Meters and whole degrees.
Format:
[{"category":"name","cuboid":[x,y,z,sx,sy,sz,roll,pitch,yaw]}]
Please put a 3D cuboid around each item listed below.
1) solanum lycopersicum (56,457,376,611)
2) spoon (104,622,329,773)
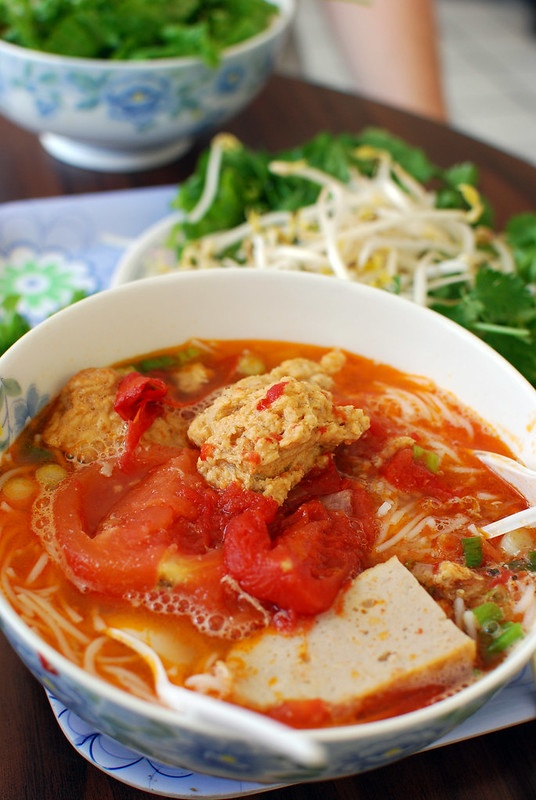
[{"category":"solanum lycopersicum","cuboid":[-0.106,0.246,1.329,0.474,0.104,0.264,5,41,5]},{"category":"spoon","cuboid":[-0.088,0.398,1.060,0.374,0.094,0.063,19,73,41]}]
